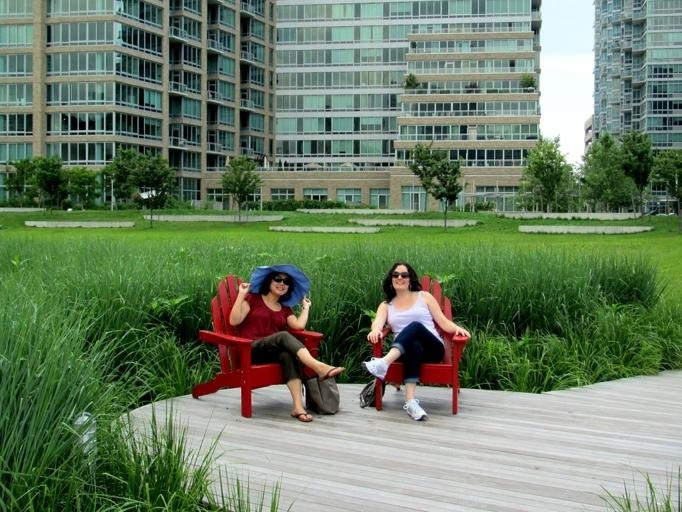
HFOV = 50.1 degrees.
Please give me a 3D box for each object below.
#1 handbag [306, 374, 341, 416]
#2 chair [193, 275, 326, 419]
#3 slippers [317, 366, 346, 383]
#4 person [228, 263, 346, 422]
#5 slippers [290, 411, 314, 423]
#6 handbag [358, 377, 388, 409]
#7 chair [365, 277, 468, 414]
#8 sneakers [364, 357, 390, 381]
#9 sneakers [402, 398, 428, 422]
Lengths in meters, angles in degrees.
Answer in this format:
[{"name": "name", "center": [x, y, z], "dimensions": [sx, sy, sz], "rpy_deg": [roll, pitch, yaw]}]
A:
[{"name": "handbag", "center": [-0.181, 1.293, 6.723], "dimensions": [0.224, 0.392, 0.348], "rpy_deg": [-1, -1, -9]}, {"name": "chair", "center": [-0.778, 0.797, 7.090], "dimensions": [1.183, 1.438, 1.224], "rpy_deg": [-3, -19, -6]}, {"name": "slippers", "center": [-0.104, 1.129, 6.782], "dimensions": [0.296, 0.086, 0.123], "rpy_deg": [-29, 13, 39]}, {"name": "person", "center": [-0.485, 0.767, 6.954], "dimensions": [1.067, 1.587, 0.621], "rpy_deg": [-9, -20, 36]}, {"name": "slippers", "center": [-0.373, 1.431, 6.556], "dimensions": [0.258, 0.069, 0.142], "rpy_deg": [4, 6, 27]}, {"name": "handbag", "center": [0.266, 1.286, 6.927], "dimensions": [0.217, 0.291, 0.249], "rpy_deg": [2, 6, 7]}, {"name": "chair", "center": [0.867, 0.870, 7.241], "dimensions": [0.907, 1.545, 1.144], "rpy_deg": [-1, -2, 17]}, {"name": "sneakers", "center": [0.320, 1.047, 6.747], "dimensions": [0.231, 0.195, 0.147], "rpy_deg": [-2, 6, -26]}, {"name": "sneakers", "center": [0.663, 1.397, 6.624], "dimensions": [0.116, 0.109, 0.208], "rpy_deg": [-9, 3, -24]}]
